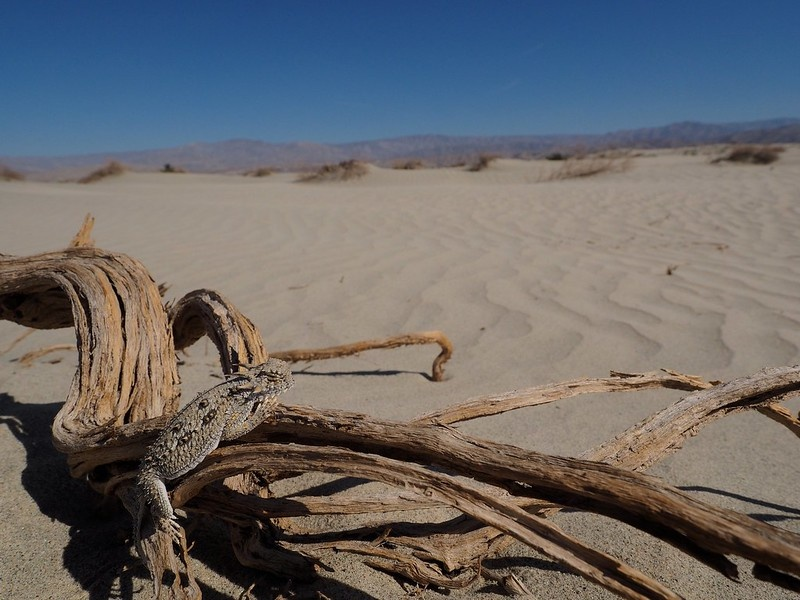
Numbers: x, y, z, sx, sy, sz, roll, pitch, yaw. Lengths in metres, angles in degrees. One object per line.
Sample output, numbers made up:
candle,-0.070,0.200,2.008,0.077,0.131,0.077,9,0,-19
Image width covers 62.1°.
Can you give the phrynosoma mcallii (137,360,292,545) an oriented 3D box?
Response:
phrynosoma mcallii,-0.900,0.763,3.328,1.063,0.358,0.577,-32,32,1
